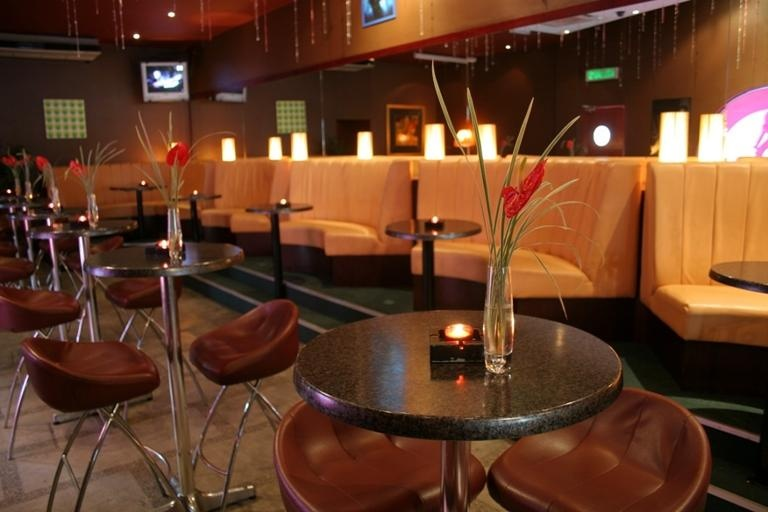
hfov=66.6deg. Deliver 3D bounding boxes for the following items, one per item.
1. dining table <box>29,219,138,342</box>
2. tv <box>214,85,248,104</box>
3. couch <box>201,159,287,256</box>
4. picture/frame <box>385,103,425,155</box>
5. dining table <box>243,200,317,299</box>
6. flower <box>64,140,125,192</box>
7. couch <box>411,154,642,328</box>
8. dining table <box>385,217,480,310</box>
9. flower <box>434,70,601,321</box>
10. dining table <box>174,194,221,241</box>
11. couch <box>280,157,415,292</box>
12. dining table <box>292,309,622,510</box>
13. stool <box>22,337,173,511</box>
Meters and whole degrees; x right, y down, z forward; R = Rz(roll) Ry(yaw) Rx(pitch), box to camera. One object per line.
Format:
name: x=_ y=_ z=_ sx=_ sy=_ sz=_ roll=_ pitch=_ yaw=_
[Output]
dining table: x=-2.453 y=0.203 z=4.875 sx=0.709 sy=0.930 sz=0.763 roll=-10 pitch=10 yaw=-31
tv: x=-2.669 y=-2.758 z=10.153 sx=0.092 sy=0.254 sz=1.283 roll=-11 pitch=15 yaw=-33
couch: x=-2.117 y=-0.737 z=8.644 sx=1.295 sy=1.311 sz=1.032 roll=8 pitch=13 yaw=28
picture/frame: x=0.251 y=-1.490 z=6.773 sx=0.492 sy=0.636 sz=0.046 roll=10 pitch=30 yaw=17
dining table: x=-1.156 y=-0.106 z=6.561 sx=0.583 sy=1.021 sz=0.583 roll=-13 pitch=17 yaw=-40
flower: x=-2.930 y=-0.843 z=5.720 sx=0.276 sy=0.412 sz=0.392 roll=-9 pitch=2 yaw=35
couch: x=1.103 y=-0.150 z=5.417 sx=1.195 sy=1.547 sz=2.380 roll=-3 pitch=10 yaw=-42
dining table: x=0.395 y=0.008 z=5.041 sx=0.750 sy=0.912 sz=0.780 roll=0 pitch=7 yaw=0
flower: x=0.527 y=-0.135 z=2.543 sx=0.578 sy=0.878 sz=0.597 roll=2 pitch=-10 yaw=28
dining table: x=-2.873 y=-0.613 z=9.047 sx=0.724 sy=0.739 sz=0.753 roll=7 pitch=10 yaw=35
couch: x=-0.655 y=-0.466 z=6.943 sx=1.956 sy=1.441 sz=1.148 roll=7 pitch=11 yaw=35
dining table: x=0.350 y=0.730 z=2.749 sx=0.952 sy=0.707 sz=0.982 roll=0 pitch=12 yaw=5
stool: x=-1.849 y=1.121 z=3.737 sx=0.699 sy=1.173 sz=0.650 roll=-11 pitch=23 yaw=-33
